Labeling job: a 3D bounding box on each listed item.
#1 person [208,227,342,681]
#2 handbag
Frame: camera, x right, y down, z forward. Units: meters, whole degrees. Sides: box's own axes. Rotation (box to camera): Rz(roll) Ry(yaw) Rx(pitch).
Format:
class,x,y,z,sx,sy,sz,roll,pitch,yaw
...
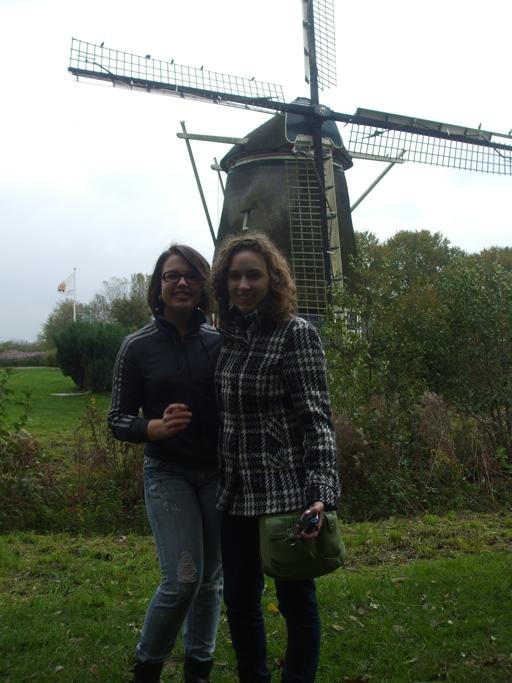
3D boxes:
class,x,y,z,sx,sy,sz,roll,pitch,yaw
person,0.064,0.420,2.382,0.361,1.938,0.766,4,-6,-27
handbag,0.165,0.750,2.069,0.321,0.242,0.244,-4,-33,-6
